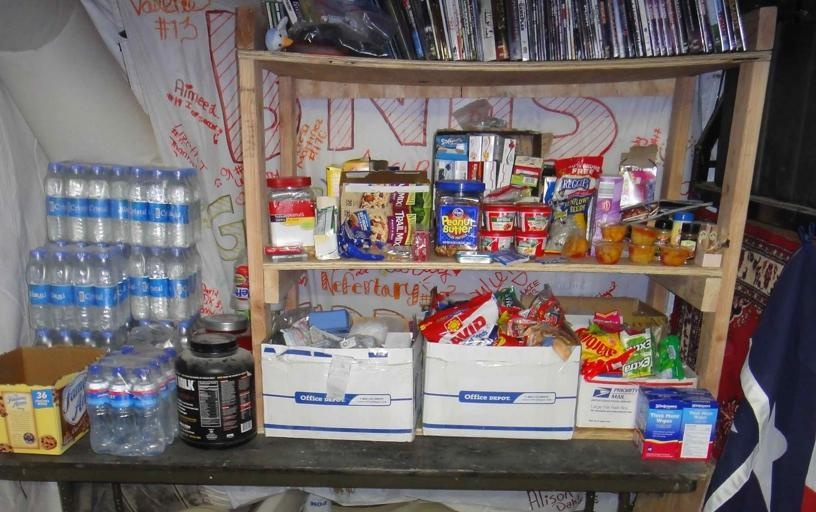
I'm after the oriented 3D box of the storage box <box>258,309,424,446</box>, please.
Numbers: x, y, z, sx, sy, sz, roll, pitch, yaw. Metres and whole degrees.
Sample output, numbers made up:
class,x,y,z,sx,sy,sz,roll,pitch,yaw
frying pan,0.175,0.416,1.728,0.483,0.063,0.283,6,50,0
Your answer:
class,x,y,z,sx,sy,sz,roll,pitch,yaw
storage box,-0.297,0.505,2.622,0.594,0.309,0.550,1,8,0

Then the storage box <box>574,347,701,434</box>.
class,x,y,z,sx,sy,sz,roll,pitch,yaw
storage box,0.885,0.562,2.450,0.518,0.230,0.246,-1,-12,8

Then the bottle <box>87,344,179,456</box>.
class,x,y,z,sx,sy,sz,roll,pitch,yaw
bottle,-1.187,0.611,2.759,0.465,0.459,0.392,1,1,-28

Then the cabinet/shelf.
class,x,y,z,sx,sy,sz,roll,pitch,yaw
cabinet/shelf,0.477,-0.173,2.688,2.457,1.859,0.734,0,36,0
